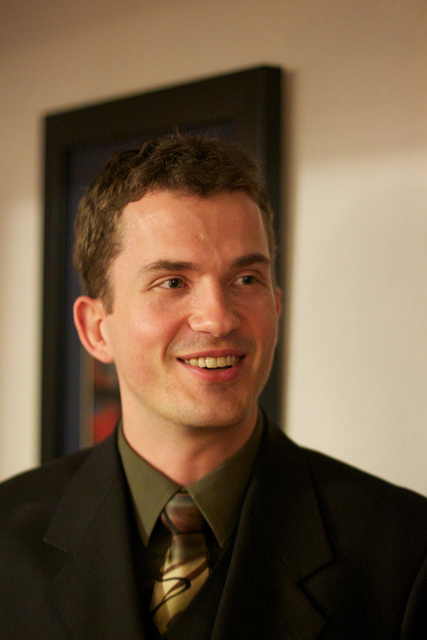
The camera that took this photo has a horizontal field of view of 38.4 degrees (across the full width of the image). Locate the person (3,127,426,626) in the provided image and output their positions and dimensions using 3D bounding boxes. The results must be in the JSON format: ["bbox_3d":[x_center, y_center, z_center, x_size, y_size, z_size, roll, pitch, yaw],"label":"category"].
[{"bbox_3d":[-0.070,0.105,1.144,0.826,0.857,0.511,-7,16,15],"label":"person"}]
